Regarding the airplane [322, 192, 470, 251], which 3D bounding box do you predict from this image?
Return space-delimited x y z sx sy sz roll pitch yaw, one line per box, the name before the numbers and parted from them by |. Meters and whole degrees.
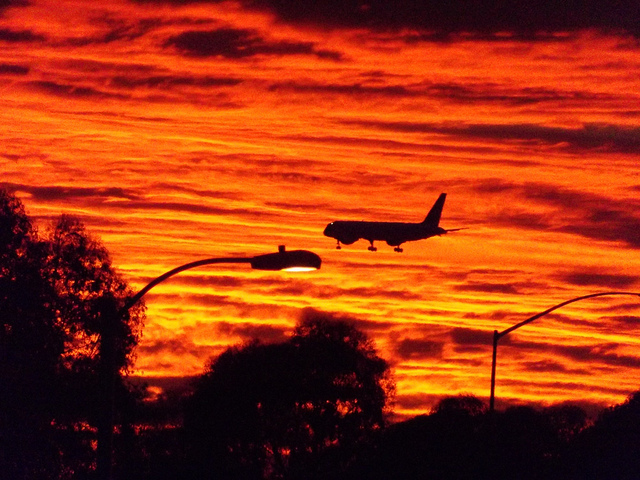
airplane | 6.426 -1.487 162.833 15.379 5.278 14.840 2 6 45
